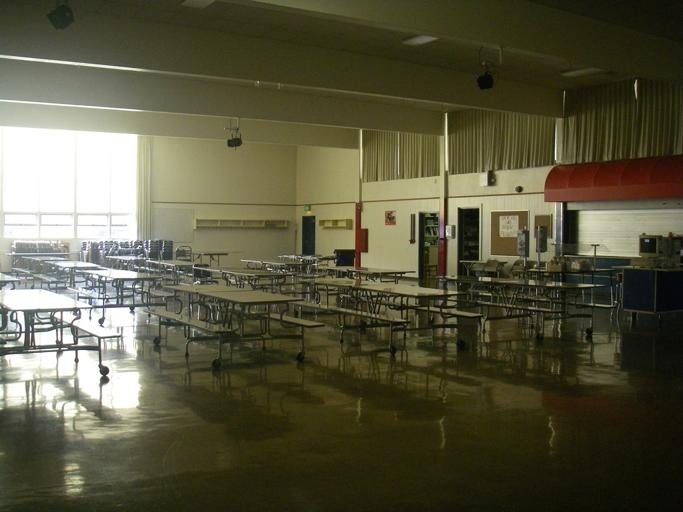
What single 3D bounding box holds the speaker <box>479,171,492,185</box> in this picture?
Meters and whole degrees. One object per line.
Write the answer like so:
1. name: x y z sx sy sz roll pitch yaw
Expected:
1. speaker: 3.759 -2.035 15.304 0.339 0.336 0.332 0 -3 -11
